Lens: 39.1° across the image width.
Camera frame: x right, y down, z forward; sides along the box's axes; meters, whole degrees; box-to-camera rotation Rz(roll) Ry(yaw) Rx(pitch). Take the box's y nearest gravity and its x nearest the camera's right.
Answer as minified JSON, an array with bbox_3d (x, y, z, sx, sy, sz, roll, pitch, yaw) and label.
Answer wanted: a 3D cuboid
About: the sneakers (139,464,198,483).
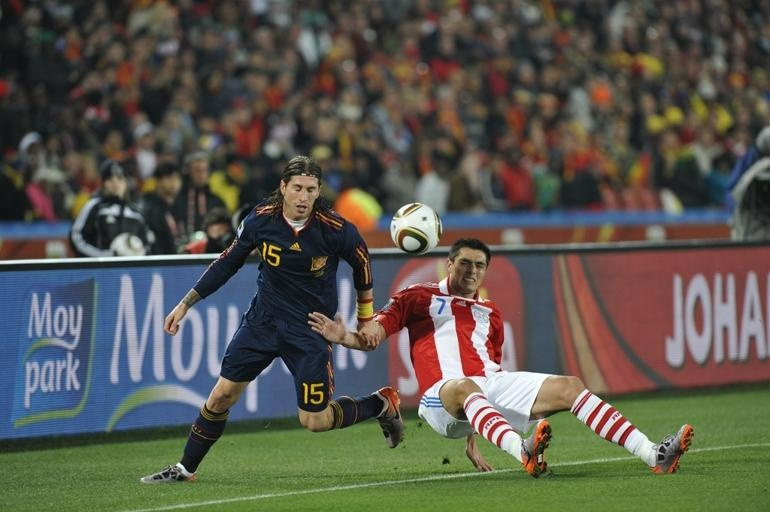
[{"bbox_3d":[-2.165,2.210,10.960,0.576,0.226,0.208,3,-9,-3],"label":"sneakers"}]

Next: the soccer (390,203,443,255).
[{"bbox_3d":[0.334,-0.356,11.473,0.502,0.529,0.493,5,24,0],"label":"soccer"}]

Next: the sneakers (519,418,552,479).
[{"bbox_3d":[1.476,1.825,10.435,0.224,0.631,0.294,3,13,-36],"label":"sneakers"}]

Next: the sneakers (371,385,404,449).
[{"bbox_3d":[0.089,1.691,11.570,0.239,0.696,0.293,-2,23,21],"label":"sneakers"}]
